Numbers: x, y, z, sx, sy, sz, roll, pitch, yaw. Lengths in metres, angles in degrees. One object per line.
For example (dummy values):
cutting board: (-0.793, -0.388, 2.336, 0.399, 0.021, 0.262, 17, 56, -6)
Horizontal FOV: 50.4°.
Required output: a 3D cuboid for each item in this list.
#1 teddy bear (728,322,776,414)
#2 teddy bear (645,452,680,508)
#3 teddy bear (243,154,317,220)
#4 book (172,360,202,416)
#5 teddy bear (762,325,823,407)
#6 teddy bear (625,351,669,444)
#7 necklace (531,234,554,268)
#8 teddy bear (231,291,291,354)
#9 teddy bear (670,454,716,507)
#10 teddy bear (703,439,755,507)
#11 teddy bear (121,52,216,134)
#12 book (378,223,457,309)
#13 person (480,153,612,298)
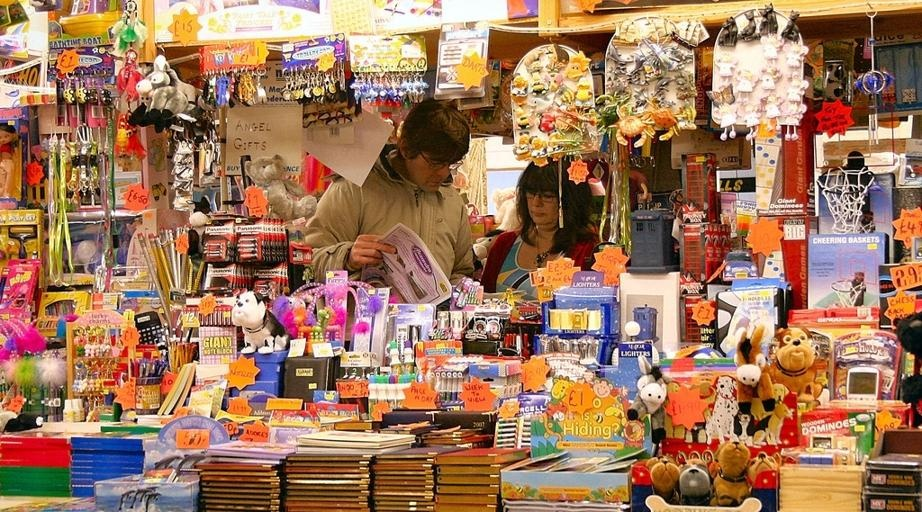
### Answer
teddy bear: (1.537, 0.597, 5.128, 0.197, 0.470, 0.156, -1, 1, 16)
teddy bear: (1.046, 1.148, 5.042, 0.203, 0.200, 0.280, -1, -5, 4)
teddy bear: (-1.315, -0.504, 7.322, 0.326, 0.377, 0.606, -1, 2, 20)
book: (-1.741, 0.822, 6.189, 0.145, 0.254, 0.059, -2, 1, -21)
teddy bear: (1.757, 0.556, 5.244, 0.321, 0.423, 0.433, -1, -41, 14)
teddy bear: (1.000, 0.781, 5.261, 0.213, 0.489, 0.104, -1, 1, 10)
necklace: (0.643, -0.095, 7.485, 0.138, 0.051, 0.209, 20, -52, 3)
teddy bear: (-1.253, 0.422, 6.092, 0.268, 0.367, 0.439, -13, -13, 18)
teddy bear: (1.144, 1.141, 5.000, 0.197, 0.261, 0.197, 0, -32, 7)
teddy bear: (1.375, 1.112, 5.006, 0.206, 0.280, 0.321, 0, -38, 6)
teddy bear: (-1.987, -1.124, 6.825, 0.374, 0.442, 0.596, -4, -3, 35)
book: (-0.344, 0.065, 6.935, 0.547, 0.543, 0.156, -40, -9, 34)
person: (0.709, -0.112, 7.631, 1.187, 1.263, 0.690, -2, -15, 31)
